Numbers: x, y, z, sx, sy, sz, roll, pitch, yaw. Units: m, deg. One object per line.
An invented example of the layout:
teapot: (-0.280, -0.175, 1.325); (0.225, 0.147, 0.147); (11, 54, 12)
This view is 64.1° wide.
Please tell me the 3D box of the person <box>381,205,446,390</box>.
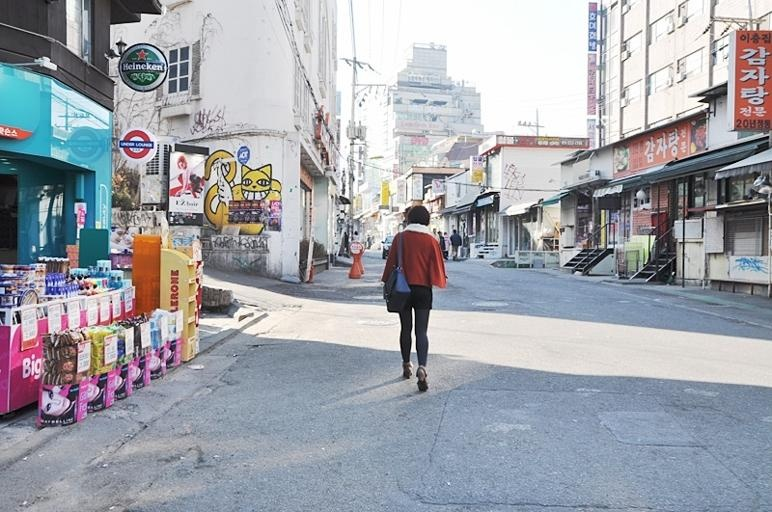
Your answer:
person: (0.437, 0.541, 9.103); (0.895, 2.505, 0.897); (-1, 7, -5)

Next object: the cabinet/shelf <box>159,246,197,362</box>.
cabinet/shelf: (-3.448, 0.724, 10.282); (0.531, 1.693, 0.735); (3, 5, 3)

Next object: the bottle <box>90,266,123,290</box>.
bottle: (-4.257, 0.328, 9.262); (0.348, 0.375, 0.377); (2, 4, -2)

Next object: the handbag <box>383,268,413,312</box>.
handbag: (0.179, 0.518, 9.000); (0.394, 0.659, 0.303); (0, 7, 2)

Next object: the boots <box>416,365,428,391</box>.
boots: (0.508, 1.681, 8.572); (0.134, 0.342, 0.147); (-2, 3, 8)

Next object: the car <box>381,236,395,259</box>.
car: (0.241, -0.740, 46.252); (1.011, 0.974, 1.843); (-1, -4, -3)
